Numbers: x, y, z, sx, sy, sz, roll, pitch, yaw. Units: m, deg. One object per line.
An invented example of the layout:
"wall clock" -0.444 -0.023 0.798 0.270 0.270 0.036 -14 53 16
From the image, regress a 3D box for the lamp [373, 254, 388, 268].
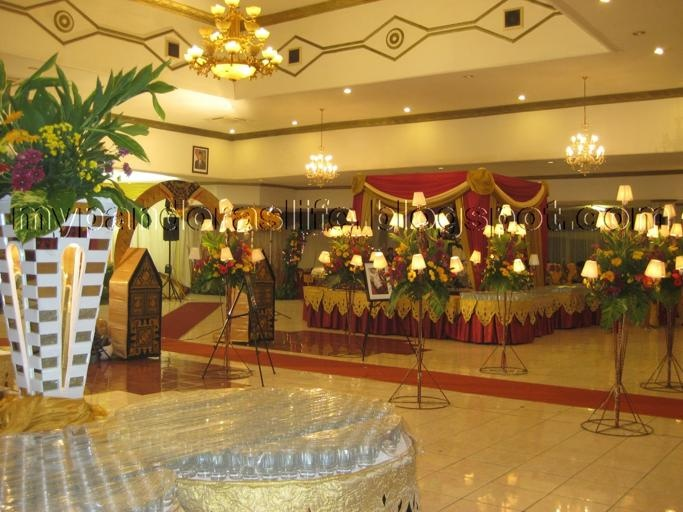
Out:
"lamp" 0.614 0.079 8.518 0.233 0.267 0.455 1 1 1

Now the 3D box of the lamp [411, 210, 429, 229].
"lamp" 1.015 -0.485 6.998 0.221 0.246 0.059 1 4 -31

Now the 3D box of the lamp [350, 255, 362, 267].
"lamp" 0.287 0.103 9.848 0.179 0.202 0.193 0 -1 24

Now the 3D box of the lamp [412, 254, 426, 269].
"lamp" 0.932 0.073 6.453 0.156 0.167 0.154 -6 2 -42

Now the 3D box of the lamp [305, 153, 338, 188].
"lamp" -0.556 -2.333 15.106 0.947 1.543 1.045 -1 21 -3

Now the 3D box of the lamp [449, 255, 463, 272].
"lamp" 1.493 0.110 6.919 0.183 0.201 0.198 -3 -4 -7

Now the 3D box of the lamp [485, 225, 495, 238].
"lamp" 2.522 -0.415 9.090 0.160 0.195 0.187 1 0 -27

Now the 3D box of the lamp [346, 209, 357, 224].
"lamp" 0.231 -0.849 11.489 0.268 0.395 0.293 -1 4 0

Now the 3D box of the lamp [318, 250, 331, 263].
"lamp" -0.324 0.034 10.441 0.236 0.266 0.254 2 -2 -9

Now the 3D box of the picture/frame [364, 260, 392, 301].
"picture/frame" 0.622 0.422 8.816 0.671 0.886 0.056 0 -10 -37

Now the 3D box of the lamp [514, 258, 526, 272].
"lamp" 2.854 0.141 8.496 0.184 0.202 0.201 -6 -13 11

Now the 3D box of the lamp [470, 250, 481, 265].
"lamp" 2.599 0.038 10.220 0.163 0.189 0.303 10 27 9

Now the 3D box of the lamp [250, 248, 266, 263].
"lamp" -1.289 -0.002 8.180 0.182 0.221 0.380 0 1 -12

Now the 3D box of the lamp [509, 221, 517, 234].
"lamp" 3.162 -0.511 9.747 0.182 0.240 0.193 0 0 31

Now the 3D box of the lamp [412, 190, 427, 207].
"lamp" 1.391 -0.990 9.470 0.333 0.382 0.352 -4 4 8

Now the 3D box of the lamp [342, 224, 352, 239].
"lamp" 0.113 -0.499 10.584 0.143 0.247 0.233 0 -2 -2

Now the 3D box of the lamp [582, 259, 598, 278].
"lamp" 2.677 0.136 5.718 0.177 0.197 0.190 0 0 24

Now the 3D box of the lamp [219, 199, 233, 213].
"lamp" -1.817 -0.781 8.362 0.163 0.231 0.375 0 1 -10

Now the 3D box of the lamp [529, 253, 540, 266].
"lamp" 4.430 0.100 12.041 0.277 0.320 0.290 -2 4 7

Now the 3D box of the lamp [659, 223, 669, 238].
"lamp" 4.413 -0.330 7.224 0.106 0.171 0.685 1 1 32

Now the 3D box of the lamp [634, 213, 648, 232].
"lamp" 3.797 -0.419 6.701 0.148 0.248 0.979 1 1 30

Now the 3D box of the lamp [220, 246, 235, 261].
"lamp" -1.696 -0.013 7.890 0.198 0.212 0.202 0 1 -16

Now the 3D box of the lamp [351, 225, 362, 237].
"lamp" 0.305 -0.471 10.544 0.207 0.236 0.226 -2 1 13

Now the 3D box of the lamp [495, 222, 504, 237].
"lamp" 2.690 -0.435 8.969 0.201 0.248 0.211 -2 -2 30

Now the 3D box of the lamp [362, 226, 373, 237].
"lamp" 0.561 -0.511 11.225 0.200 0.236 0.216 1 -5 -5

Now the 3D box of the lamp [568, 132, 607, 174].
"lamp" 5.689 -2.396 12.276 0.810 0.802 1.733 1 1 25

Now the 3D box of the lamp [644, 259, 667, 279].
"lamp" 3.251 0.134 5.449 0.183 0.201 0.200 -1 4 6

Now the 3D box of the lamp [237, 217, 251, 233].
"lamp" -1.560 -0.495 8.418 0.208 0.189 0.589 0 1 -12

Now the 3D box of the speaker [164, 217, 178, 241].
"speaker" -5.995 -0.961 18.695 0.502 0.899 1.948 0 1 -20
